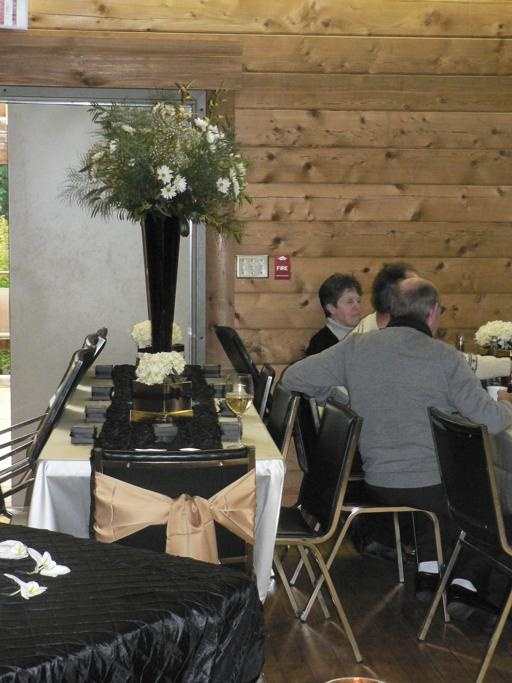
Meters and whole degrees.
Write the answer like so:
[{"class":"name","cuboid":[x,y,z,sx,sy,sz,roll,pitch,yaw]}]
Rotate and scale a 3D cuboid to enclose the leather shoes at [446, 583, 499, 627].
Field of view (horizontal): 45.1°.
[{"class":"leather shoes","cuboid":[0.839,1.020,2.392,0.172,0.063,0.098,11,37,19]}]
